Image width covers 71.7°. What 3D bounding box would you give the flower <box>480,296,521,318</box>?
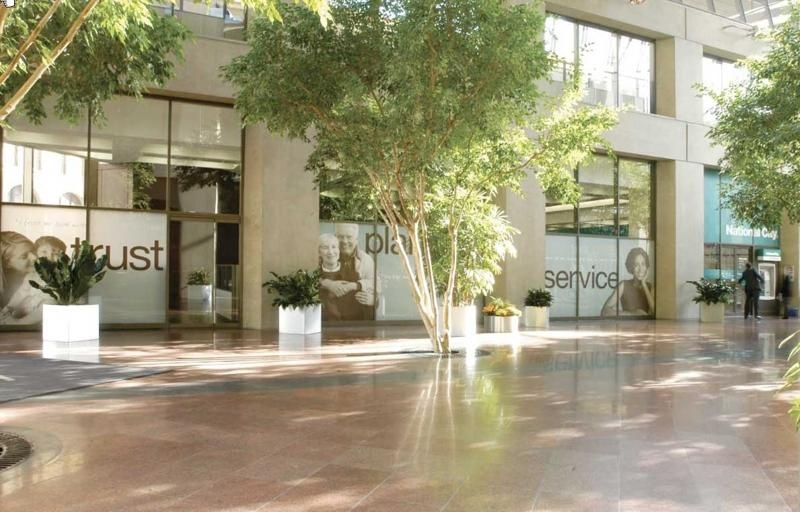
[{"bbox_3d":[3.175,1.642,17.301,1.060,0.469,0.584,1,2,13],"label":"flower"}]

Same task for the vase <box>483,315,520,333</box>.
[{"bbox_3d":[3.206,2.097,17.144,0.665,0.294,0.653,0,-1,-12],"label":"vase"}]

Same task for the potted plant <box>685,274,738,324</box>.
[{"bbox_3d":[13.212,1.893,23.181,1.920,1.657,1.864,3,-2,-18],"label":"potted plant"}]

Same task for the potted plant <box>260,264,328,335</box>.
[{"bbox_3d":[-2.874,1.344,17.216,2.155,1.869,2.194,-1,3,-38],"label":"potted plant"}]

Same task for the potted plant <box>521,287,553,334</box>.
[{"bbox_3d":[5.124,1.802,19.926,1.141,1.290,0.984,-7,-2,44],"label":"potted plant"}]
